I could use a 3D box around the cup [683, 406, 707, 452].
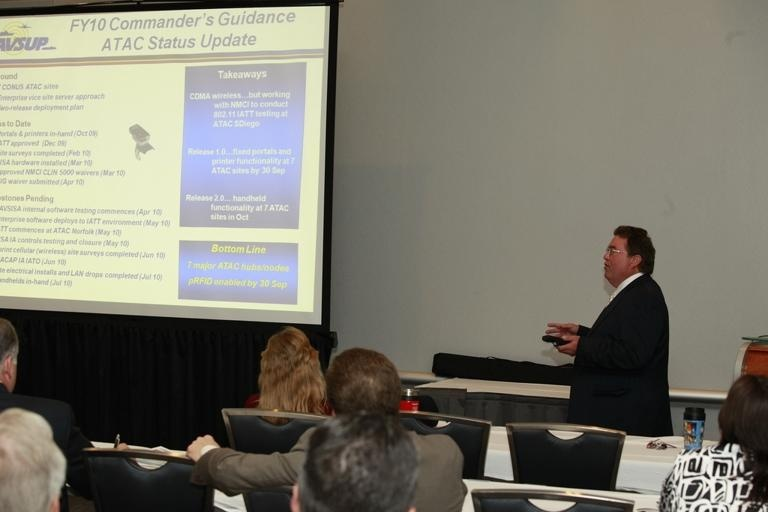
[{"bbox_3d":[1.572,0.886,3.540,0.112,0.200,0.119,2,-3,0],"label":"cup"}]
